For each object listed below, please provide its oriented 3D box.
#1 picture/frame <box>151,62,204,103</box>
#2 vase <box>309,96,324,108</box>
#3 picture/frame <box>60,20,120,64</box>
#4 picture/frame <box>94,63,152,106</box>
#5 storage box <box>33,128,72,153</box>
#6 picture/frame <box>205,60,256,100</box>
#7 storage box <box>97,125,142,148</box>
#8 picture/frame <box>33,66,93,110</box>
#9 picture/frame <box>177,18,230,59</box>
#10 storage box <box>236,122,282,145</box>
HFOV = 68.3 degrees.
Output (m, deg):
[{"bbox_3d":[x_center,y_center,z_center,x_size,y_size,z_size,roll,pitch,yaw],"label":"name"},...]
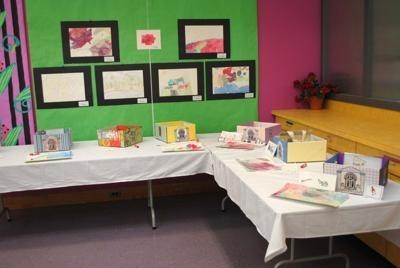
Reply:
[{"bbox_3d":[-0.365,-0.788,4.324,0.618,0.451,0.020,-2,7,-12],"label":"picture/frame"},{"bbox_3d":[1.798,-0.500,4.566,0.186,0.139,0.186,4,10,17],"label":"vase"},{"bbox_3d":[-1.566,-1.313,4.099,0.634,0.458,0.011,-1,10,-7],"label":"picture/frame"},{"bbox_3d":[-1.140,-0.736,4.217,0.623,0.446,0.008,-2,9,-6],"label":"picture/frame"},{"bbox_3d":[-1.852,0.090,3.724,0.377,0.214,0.372,-2,8,-15],"label":"storage box"},{"bbox_3d":[0.421,-0.844,4.434,0.606,0.426,0.021,-2,11,-5],"label":"picture/frame"},{"bbox_3d":[-1.010,0.023,3.836,0.377,0.171,0.378,-10,14,-42],"label":"storage box"},{"bbox_3d":[-1.952,-0.678,4.119,0.614,0.447,0.021,-3,11,-3],"label":"picture/frame"},{"bbox_3d":[0.020,-1.423,4.309,0.629,0.436,0.013,-1,10,-6],"label":"picture/frame"},{"bbox_3d":[0.697,-0.031,3.789,0.369,0.167,0.380,-8,10,-38],"label":"storage box"}]
